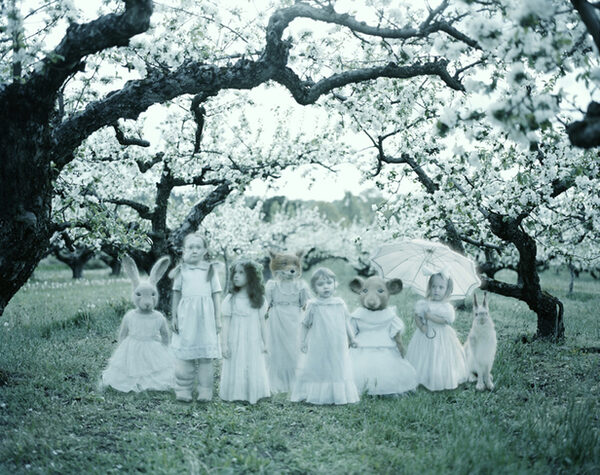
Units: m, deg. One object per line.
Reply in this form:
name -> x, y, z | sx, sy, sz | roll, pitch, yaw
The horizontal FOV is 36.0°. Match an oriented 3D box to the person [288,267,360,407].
person -> 0.343, 1.344, 12.255 | 0.851, 1.806, 0.358 | -1, -7, 1

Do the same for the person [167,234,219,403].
person -> -1.395, 1.081, 12.268 | 0.675, 2.251, 0.406 | 0, -7, -9

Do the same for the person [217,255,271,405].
person -> -0.750, 1.280, 12.203 | 0.657, 1.892, 0.321 | 0, -7, -4

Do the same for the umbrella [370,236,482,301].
umbrella -> 1.759, 0.415, 12.889 | 0.976, 1.042, 0.516 | 20, -40, 14

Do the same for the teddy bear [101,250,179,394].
teddy bear -> -2.205, 1.216, 12.789 | 1.043, 1.908, 1.010 | 3, 0, -16
